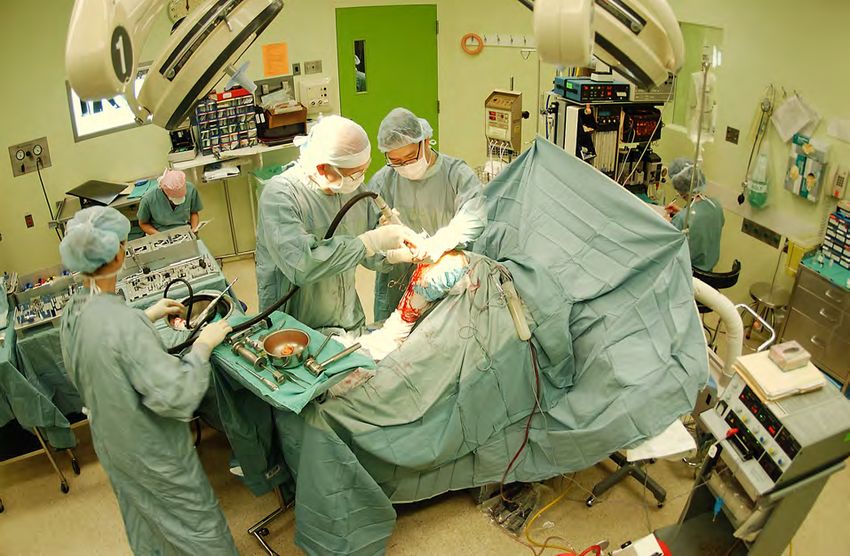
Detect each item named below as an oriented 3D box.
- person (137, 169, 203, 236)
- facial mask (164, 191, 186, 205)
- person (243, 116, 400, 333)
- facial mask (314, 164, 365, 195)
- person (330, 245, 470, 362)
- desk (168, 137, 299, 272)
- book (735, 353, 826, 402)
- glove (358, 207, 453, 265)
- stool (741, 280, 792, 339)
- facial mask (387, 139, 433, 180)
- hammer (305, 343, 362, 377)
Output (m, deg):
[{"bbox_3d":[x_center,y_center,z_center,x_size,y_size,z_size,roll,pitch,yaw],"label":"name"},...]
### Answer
[{"bbox_3d":[-2.174,-0.632,5.380,0.462,0.411,0.713,-19,-9,-27],"label":"person"},{"bbox_3d":[-2.091,-0.672,5.334,0.136,0.148,0.159,-15,27,-22],"label":"facial mask"},{"bbox_3d":[-0.611,-0.225,3.722,0.784,1.369,0.578,-17,27,-26],"label":"person"},{"bbox_3d":[-0.481,-0.583,3.648,0.178,0.114,0.179,17,31,22],"label":"facial mask"},{"bbox_3d":[-0.080,0.154,3.817,0.808,0.257,0.537,-41,25,-13],"label":"person"},{"bbox_3d":[-1.884,-0.721,6.205,1.143,1.122,0.436,-14,13,-29],"label":"desk"},{"bbox_3d":[1.800,0.501,3.187,0.271,0.071,0.262,-15,38,-8],"label":"book"},{"bbox_3d":[-0.111,-0.221,3.680,0.395,0.332,0.166,9,-10,-7],"label":"glove"},{"bbox_3d":[2.842,0.178,5.256,0.364,0.502,0.402,2,52,22],"label":"stool"},{"bbox_3d":[-0.070,-0.777,4.117,0.209,0.143,0.273,-4,56,28],"label":"facial mask"},{"bbox_3d":[-0.491,0.440,3.366,0.316,0.068,0.125,-33,64,-32],"label":"hammer"}]
